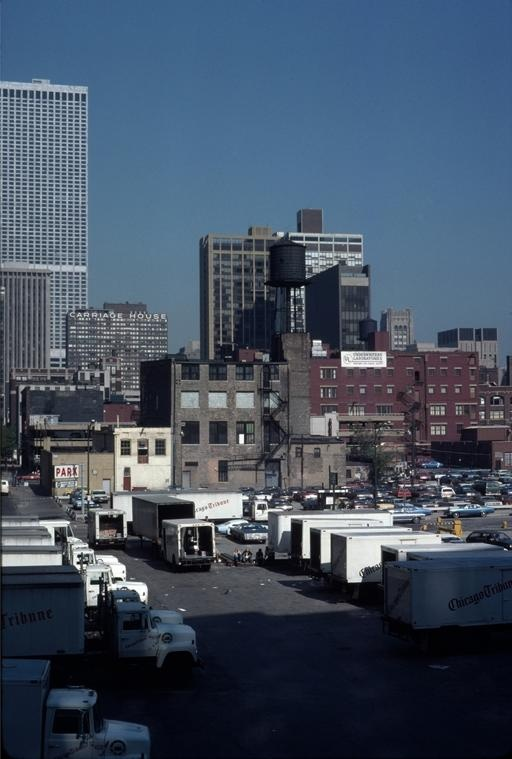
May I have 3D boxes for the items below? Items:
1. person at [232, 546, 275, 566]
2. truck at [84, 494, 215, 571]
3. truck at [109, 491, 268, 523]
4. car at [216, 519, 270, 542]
[{"bbox_3d":[-0.082,7.295,68.629,1.373,0.993,0.811,1,-35,-4],"label":"person"},{"bbox_3d":[-3.666,6.309,70.305,2.140,3.040,11.329,1,1,-18],"label":"truck"},{"bbox_3d":[-3.432,5.961,79.226,6.922,2.113,1.709,-2,2,-26],"label":"truck"},{"bbox_3d":[-0.682,7.240,80.508,1.326,0.777,2.600,2,6,-26],"label":"car"}]
